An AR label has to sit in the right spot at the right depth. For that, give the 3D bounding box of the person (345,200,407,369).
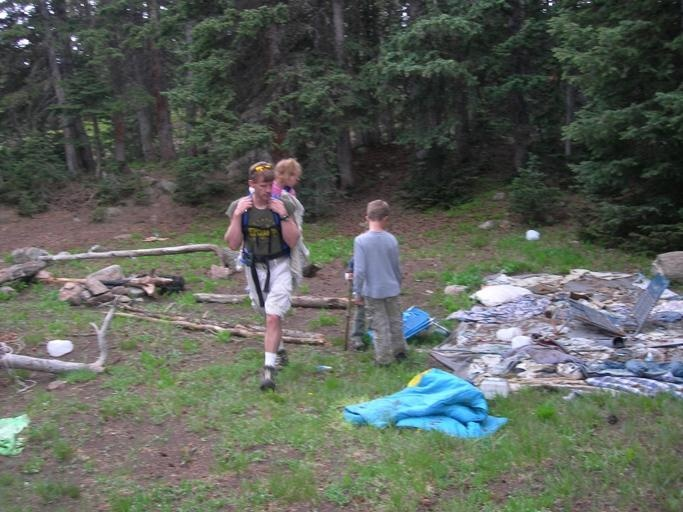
[{"bbox_3d":[0.551,0.407,9.978,0.778,2.428,0.823,-3,20,1],"label":"person"}]

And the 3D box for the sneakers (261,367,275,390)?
[{"bbox_3d":[-1.040,1.694,9.223,0.195,0.303,0.229,-1,18,4],"label":"sneakers"}]
